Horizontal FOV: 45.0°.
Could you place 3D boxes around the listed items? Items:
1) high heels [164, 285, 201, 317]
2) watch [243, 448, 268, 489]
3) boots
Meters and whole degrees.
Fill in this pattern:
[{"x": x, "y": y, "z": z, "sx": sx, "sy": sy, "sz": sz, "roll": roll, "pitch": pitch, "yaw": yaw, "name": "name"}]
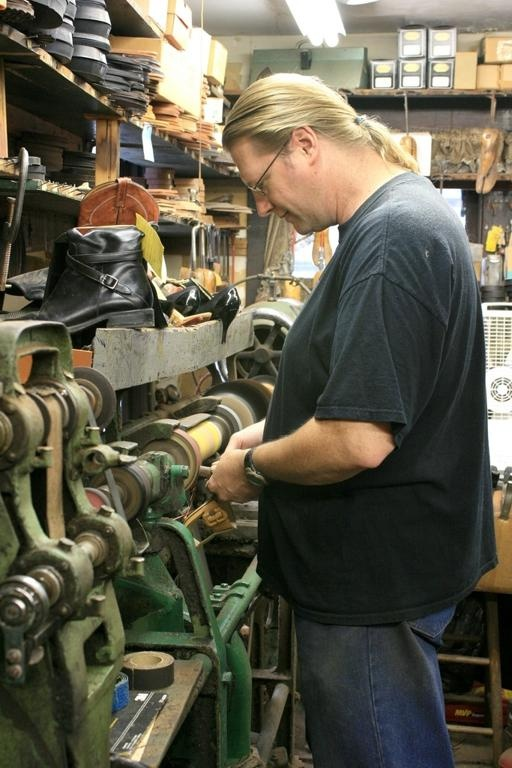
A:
[{"x": -0.273, "y": -0.323, "z": 2.445, "sx": 0.063, "sy": 0.069, "sz": 0.190, "roll": -21, "pitch": 21, "yaw": 3, "name": "high heels"}, {"x": 0.001, "y": 0.176, "z": 1.296, "sx": 0.047, "sy": 0.068, "sz": 0.074, "roll": -36, "pitch": -15, "yaw": -12, "name": "watch"}, {"x": -0.430, "y": -0.295, "z": 1.735, "sx": 0.334, "sy": 0.325, "sz": 0.250, "roll": 4, "pitch": 4, "yaw": -12, "name": "boots"}]
